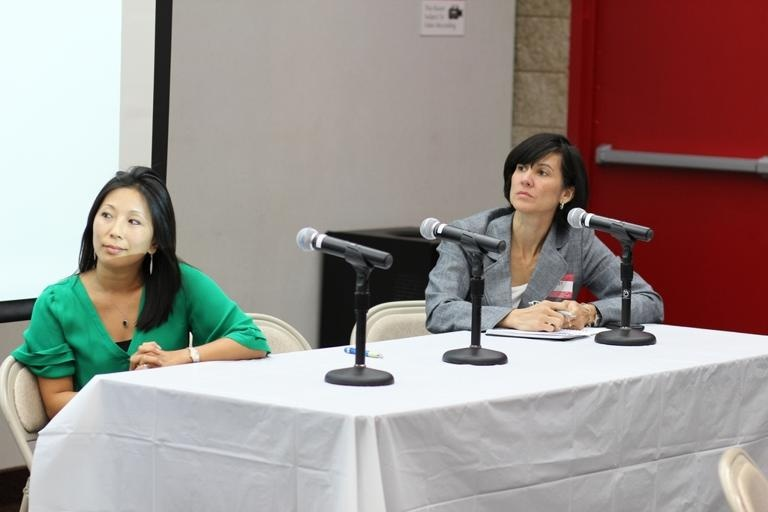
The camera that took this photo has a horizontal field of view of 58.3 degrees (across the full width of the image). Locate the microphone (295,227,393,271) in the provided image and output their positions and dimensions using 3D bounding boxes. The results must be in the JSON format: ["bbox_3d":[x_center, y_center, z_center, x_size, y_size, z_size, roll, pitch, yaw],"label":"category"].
[{"bbox_3d":[-0.109,-0.015,1.802,0.171,0.099,0.259,-5,11,-31],"label":"microphone"}]

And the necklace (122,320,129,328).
[{"bbox_3d":[-0.815,0.212,2.167,0.014,0.023,0.009,3,10,4],"label":"necklace"}]

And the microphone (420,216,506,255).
[{"bbox_3d":[0.258,-0.065,2.094,0.271,0.088,0.152,7,11,31],"label":"microphone"}]

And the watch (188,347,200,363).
[{"bbox_3d":[-0.563,0.292,2.035,0.031,0.046,0.016,7,-25,-9],"label":"watch"}]
